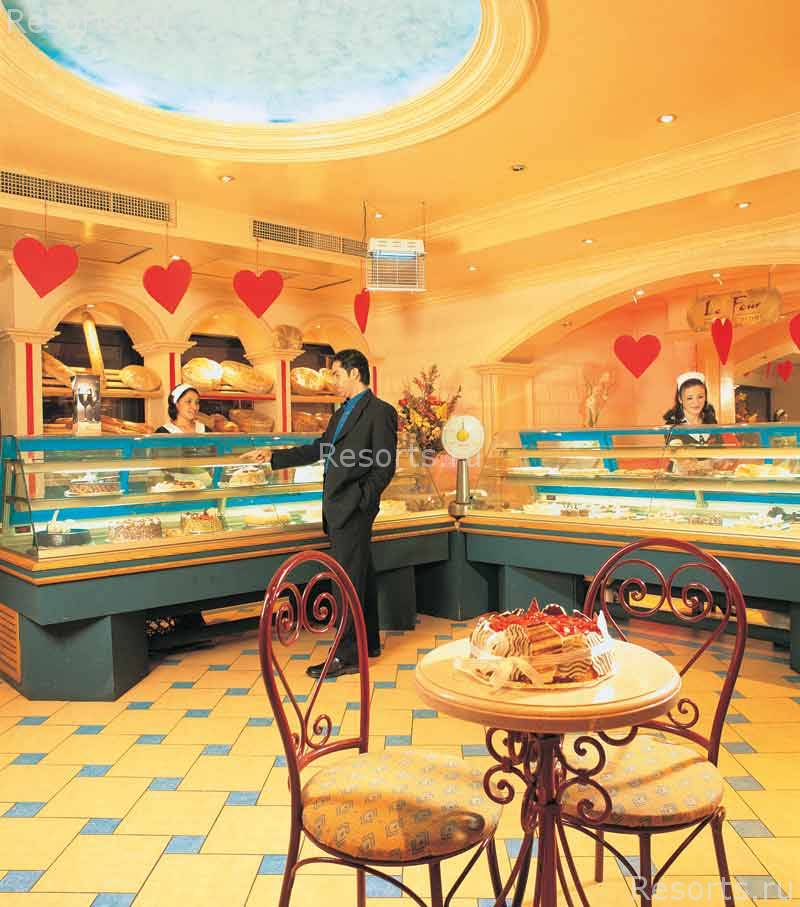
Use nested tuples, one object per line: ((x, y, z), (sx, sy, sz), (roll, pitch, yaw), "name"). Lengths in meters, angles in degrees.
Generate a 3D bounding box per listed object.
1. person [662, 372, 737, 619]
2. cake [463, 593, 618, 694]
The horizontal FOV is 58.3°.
((2.057, 0.121, 4.941), (0.489, 1.354, 0.519), (-14, 17, -8), "person")
((0.287, 0.392, 1.478), (0.312, 0.144, 0.254), (-1, 0, -15), "cake")
